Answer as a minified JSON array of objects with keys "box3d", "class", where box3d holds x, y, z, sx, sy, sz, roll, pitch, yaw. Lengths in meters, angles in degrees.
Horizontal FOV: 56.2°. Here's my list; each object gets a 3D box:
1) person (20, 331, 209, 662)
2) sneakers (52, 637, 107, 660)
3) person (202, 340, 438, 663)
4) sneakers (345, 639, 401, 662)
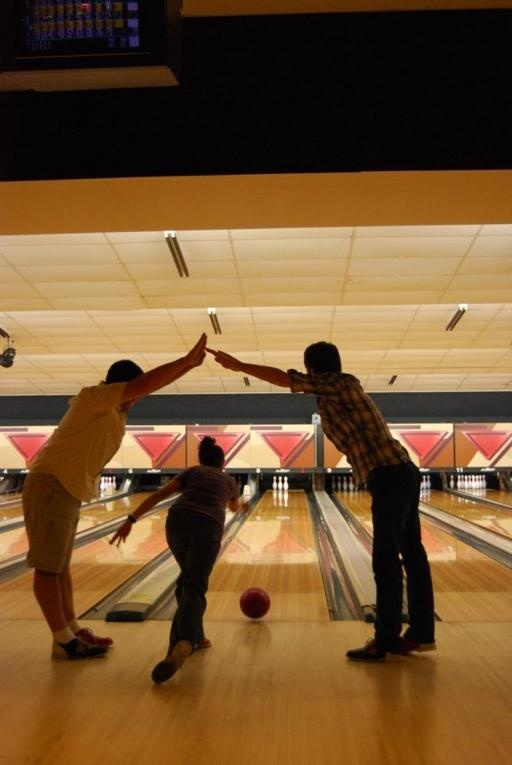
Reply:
[{"box3d":[-0.461,0.539,2.474,0.980,1.691,0.753,3,-10,-10],"class":"person"},{"box3d":[-0.630,0.932,1.674,0.191,0.080,0.073,2,-8,-7],"class":"sneakers"},{"box3d":[0.188,0.428,2.001,0.807,1.153,0.835,2,-12,-7],"class":"person"},{"box3d":[0.391,0.909,1.655,0.191,0.081,0.074,2,-22,2],"class":"sneakers"}]
